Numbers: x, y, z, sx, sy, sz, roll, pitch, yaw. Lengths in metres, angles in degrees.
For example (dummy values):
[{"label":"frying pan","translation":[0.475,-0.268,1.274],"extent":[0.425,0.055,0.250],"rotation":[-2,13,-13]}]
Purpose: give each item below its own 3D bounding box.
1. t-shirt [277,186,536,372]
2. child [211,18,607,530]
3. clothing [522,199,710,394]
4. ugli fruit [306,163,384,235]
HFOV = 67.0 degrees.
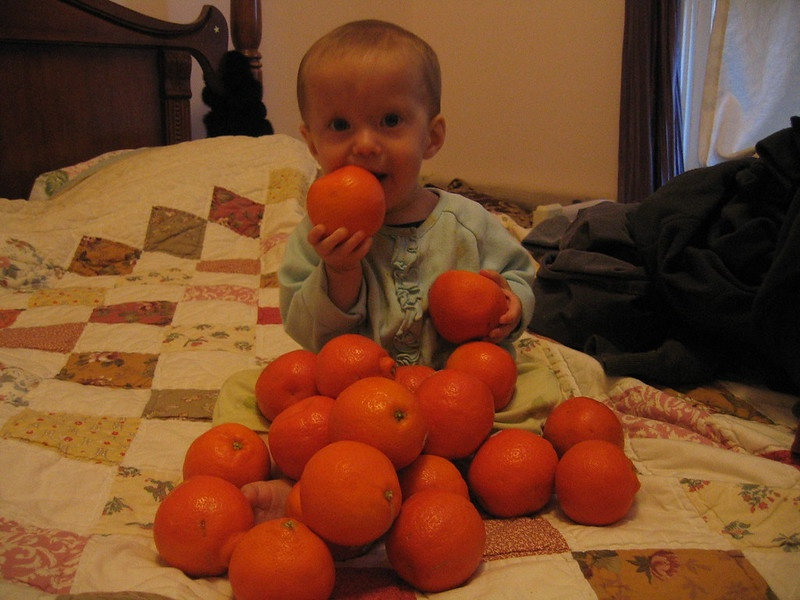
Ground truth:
[{"label":"t-shirt","translation":[0.010,-0.028,1.142],"extent":[0.495,0.379,0.315],"rotation":[-10,8,-4]},{"label":"child","translation":[-0.042,-0.092,1.054],"extent":[0.596,0.767,0.524],"rotation":[-7,11,-10]},{"label":"clothing","translation":[0.471,-0.001,1.367],"extent":[0.323,0.142,0.404],"rotation":[-24,32,-25]},{"label":"ugli fruit","translation":[-0.084,-0.170,0.970],"extent":[0.104,0.108,0.103],"rotation":[10,19,26]}]
